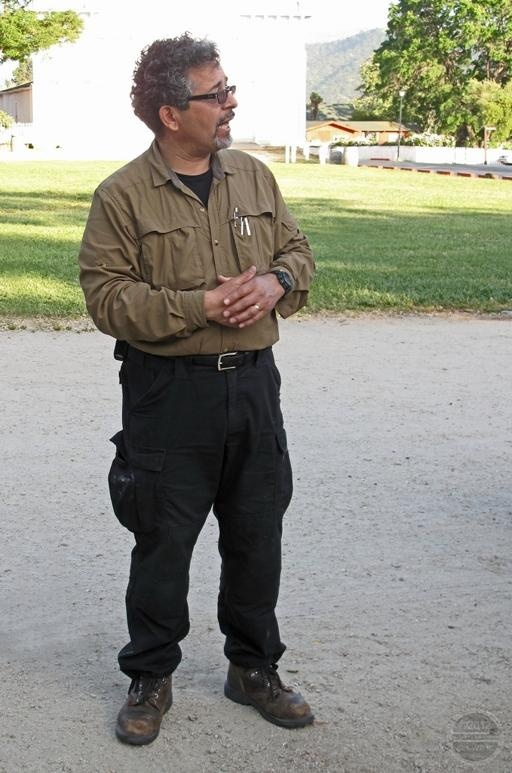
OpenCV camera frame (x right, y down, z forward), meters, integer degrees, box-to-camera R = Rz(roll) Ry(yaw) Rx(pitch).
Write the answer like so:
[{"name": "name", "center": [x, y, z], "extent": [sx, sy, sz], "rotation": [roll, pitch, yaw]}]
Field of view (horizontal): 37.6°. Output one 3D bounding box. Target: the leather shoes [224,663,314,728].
[{"name": "leather shoes", "center": [0.039, 0.947, 2.379], "extent": [0.319, 0.136, 0.115], "rotation": [4, 9, 37]}]

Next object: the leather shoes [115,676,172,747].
[{"name": "leather shoes", "center": [-0.323, 0.942, 2.185], "extent": [0.091, 0.094, 0.235], "rotation": [1, -4, 5]}]

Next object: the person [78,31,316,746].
[{"name": "person", "center": [-0.156, 0.018, 2.205], "extent": [0.680, 1.999, 0.565], "rotation": [-2, 15, -13]}]

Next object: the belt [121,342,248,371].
[{"name": "belt", "center": [-0.225, -0.081, 2.117], "extent": [0.420, 0.066, 0.143], "rotation": [4, 13, 13]}]

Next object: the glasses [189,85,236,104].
[{"name": "glasses", "center": [-0.111, -0.797, 2.062], "extent": [0.091, 0.025, 0.084], "rotation": [0, 19, 24]}]
